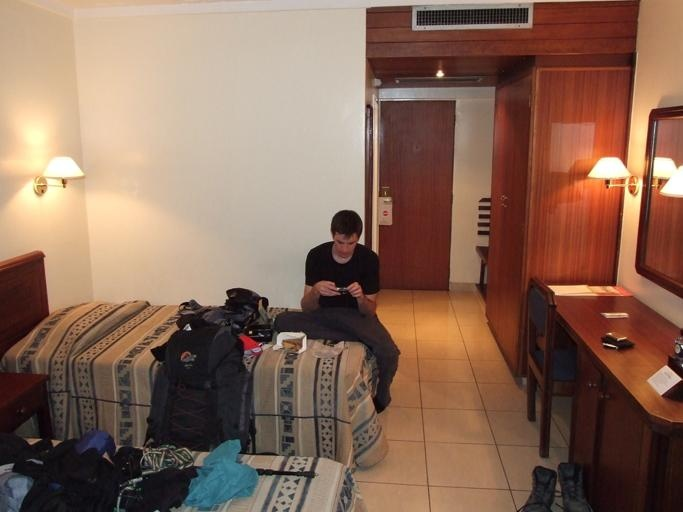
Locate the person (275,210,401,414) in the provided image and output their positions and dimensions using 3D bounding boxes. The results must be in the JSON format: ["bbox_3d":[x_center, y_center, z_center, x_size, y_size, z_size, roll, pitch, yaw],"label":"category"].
[{"bbox_3d":[0.011,0.347,3.792,0.879,1.318,0.705,3,14,13],"label":"person"}]

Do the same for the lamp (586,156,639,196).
[{"bbox_3d":[1.960,-0.570,3.741,0.303,0.284,0.249,2,15,7],"label":"lamp"}]

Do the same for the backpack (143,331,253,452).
[{"bbox_3d":[-0.811,0.791,3.025,0.521,0.728,0.272,1,-8,2],"label":"backpack"}]

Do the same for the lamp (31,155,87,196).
[{"bbox_3d":[-2.044,-0.602,3.880,0.327,0.304,0.264,4,11,7],"label":"lamp"}]

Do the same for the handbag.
[{"bbox_3d":[-0.833,0.390,3.654,0.440,0.216,0.342,0,8,-2],"label":"handbag"}]
